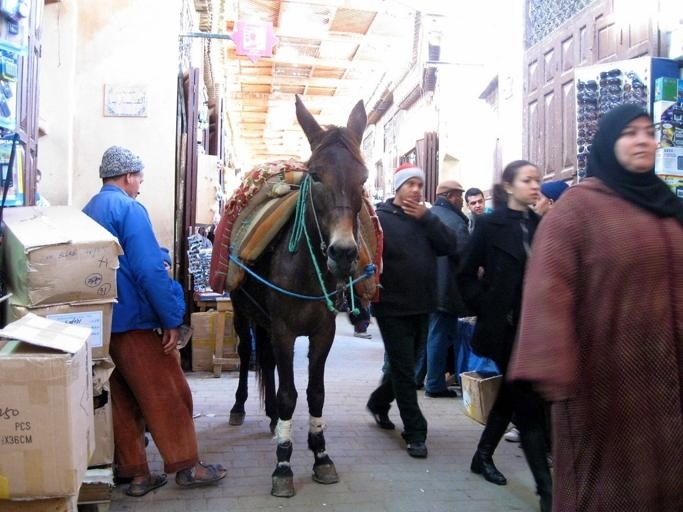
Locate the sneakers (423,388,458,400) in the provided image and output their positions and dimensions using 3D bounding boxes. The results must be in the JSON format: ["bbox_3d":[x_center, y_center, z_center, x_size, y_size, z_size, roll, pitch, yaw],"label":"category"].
[{"bbox_3d":[1.123,1.514,6.347,0.383,0.164,0.128,-1,4,-10],"label":"sneakers"}]

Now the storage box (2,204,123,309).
[{"bbox_3d":[-1.682,-0.045,3.338,0.411,0.297,0.786,-5,19,-32],"label":"storage box"}]

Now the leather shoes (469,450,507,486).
[{"bbox_3d":[1.062,1.533,4.132,0.106,0.214,0.310,0,-4,-28],"label":"leather shoes"}]

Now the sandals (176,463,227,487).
[{"bbox_3d":[-0.951,1.502,3.909,0.266,0.124,0.161,-1,0,-18],"label":"sandals"}]

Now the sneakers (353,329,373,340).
[{"bbox_3d":[0.401,1.454,10.596,0.132,0.166,0.354,2,-7,-14],"label":"sneakers"}]

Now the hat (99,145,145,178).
[{"bbox_3d":[-1.516,-0.646,3.967,0.281,0.209,0.199,-1,1,-38],"label":"hat"}]

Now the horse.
[{"bbox_3d":[-0.378,0.246,4.271,0.781,2.662,2.031,1,2,-15],"label":"horse"}]

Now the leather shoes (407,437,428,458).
[{"bbox_3d":[0.607,1.527,4.546,0.172,0.126,0.126,2,1,6],"label":"leather shoes"}]

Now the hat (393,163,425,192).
[{"bbox_3d":[0.546,-0.645,4.760,0.212,0.221,0.235,3,14,-17],"label":"hat"}]

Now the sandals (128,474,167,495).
[{"bbox_3d":[-1.311,1.534,3.869,0.096,0.090,0.244,2,-1,23],"label":"sandals"}]

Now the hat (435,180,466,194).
[{"bbox_3d":[1.138,-0.718,5.941,0.218,0.099,0.162,-6,7,-12],"label":"hat"}]

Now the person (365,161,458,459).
[{"bbox_3d":[0.585,0.409,4.747,0.622,2.347,0.565,1,1,5],"label":"person"}]

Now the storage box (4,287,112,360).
[{"bbox_3d":[-1.580,0.396,3.255,0.402,0.257,0.410,0,2,16],"label":"storage box"}]
